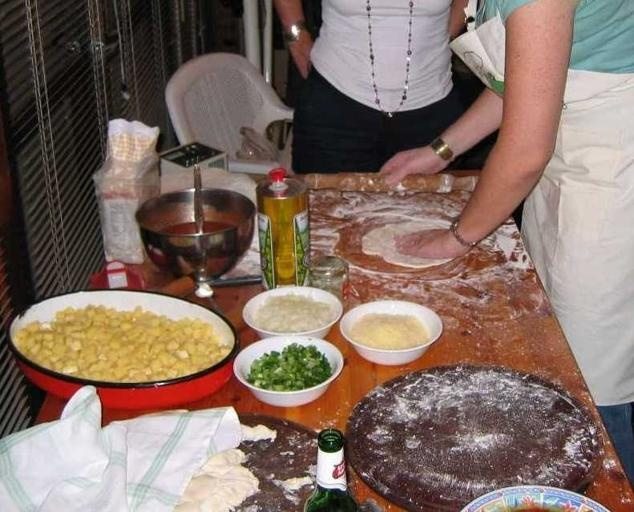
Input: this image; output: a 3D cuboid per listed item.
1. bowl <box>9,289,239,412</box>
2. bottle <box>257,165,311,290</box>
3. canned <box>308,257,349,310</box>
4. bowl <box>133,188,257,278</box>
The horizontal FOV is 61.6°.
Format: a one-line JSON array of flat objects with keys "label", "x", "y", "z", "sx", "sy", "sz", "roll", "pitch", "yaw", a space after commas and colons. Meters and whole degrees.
[{"label": "bowl", "x": -0.419, "y": 0.201, "z": 1.161, "sx": 0.354, "sy": 0.077, "sz": 0.267, "roll": 9, "pitch": 33, "yaw": 9}, {"label": "bottle", "x": -0.086, "y": -0.075, "z": 1.383, "sx": 0.132, "sy": 0.306, "sz": 0.149, "roll": -5, "pitch": 39, "yaw": -4}, {"label": "canned", "x": 0.050, "y": 0.070, "z": 1.465, "sx": 0.107, "sy": 0.194, "sz": 0.111, "roll": 1, "pitch": 26, "yaw": 6}, {"label": "bowl", "x": -0.325, "y": -0.043, "z": 1.486, "sx": 0.317, "sy": 0.196, "sz": 0.322, "roll": 2, "pitch": 27, "yaw": -1}]
